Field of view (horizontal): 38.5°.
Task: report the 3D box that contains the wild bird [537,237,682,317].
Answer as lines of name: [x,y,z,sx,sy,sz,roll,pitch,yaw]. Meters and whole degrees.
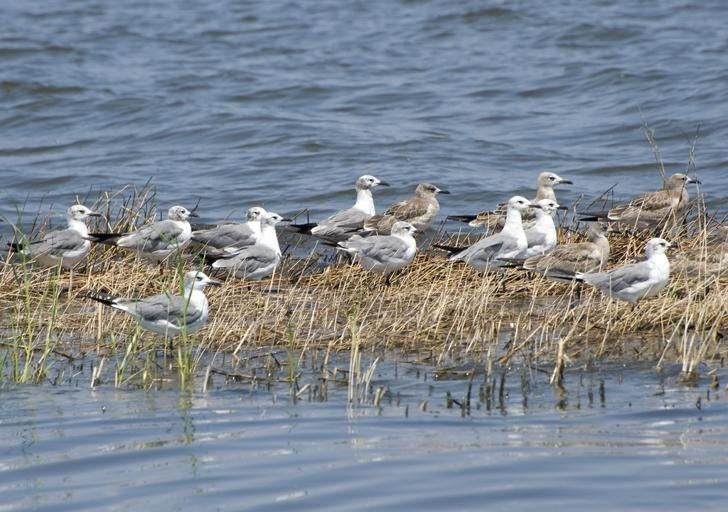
wild bird: [4.075,0.224,16.096,1.281,1.011,0.489,-2,-4,9]

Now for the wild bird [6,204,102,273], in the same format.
wild bird: [-5.410,-0.390,18.461,1.105,1.167,1.342,-1,-4,-13]
